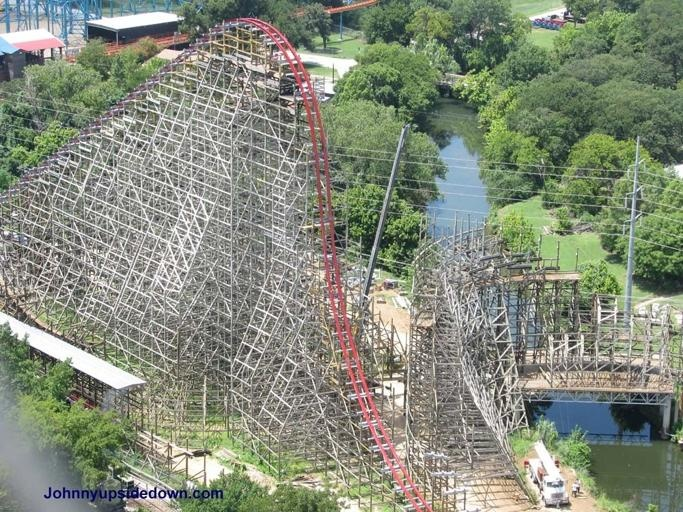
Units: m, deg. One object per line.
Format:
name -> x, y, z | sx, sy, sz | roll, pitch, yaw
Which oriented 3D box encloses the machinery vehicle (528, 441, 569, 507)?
machinery vehicle -> 14.168, 15.419, 100.293 | 1.651, 1.578, 4.293 | -6, 29, -3
